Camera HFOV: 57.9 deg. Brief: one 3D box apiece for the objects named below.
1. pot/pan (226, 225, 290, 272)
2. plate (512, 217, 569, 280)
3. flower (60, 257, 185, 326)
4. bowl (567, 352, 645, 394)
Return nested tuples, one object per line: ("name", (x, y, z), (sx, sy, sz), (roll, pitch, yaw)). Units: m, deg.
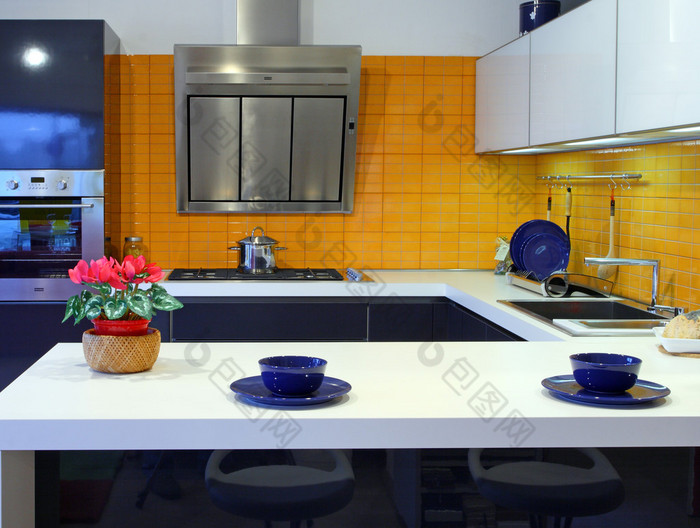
("pot/pan", (-0.613, -0.067, 3.998), (0.393, 0.298, 0.245), (1, 0, -6))
("plate", (0.999, -0.071, 3.312), (0.379, 0.408, 0.215), (-1, -4, 3))
("flower", (-0.649, 0.061, 1.746), (0.291, 0.161, 0.234), (-4, 3, -14))
("bowl", (0.597, 0.258, 1.496), (0.145, 0.072, 0.144), (2, -18, 1))
